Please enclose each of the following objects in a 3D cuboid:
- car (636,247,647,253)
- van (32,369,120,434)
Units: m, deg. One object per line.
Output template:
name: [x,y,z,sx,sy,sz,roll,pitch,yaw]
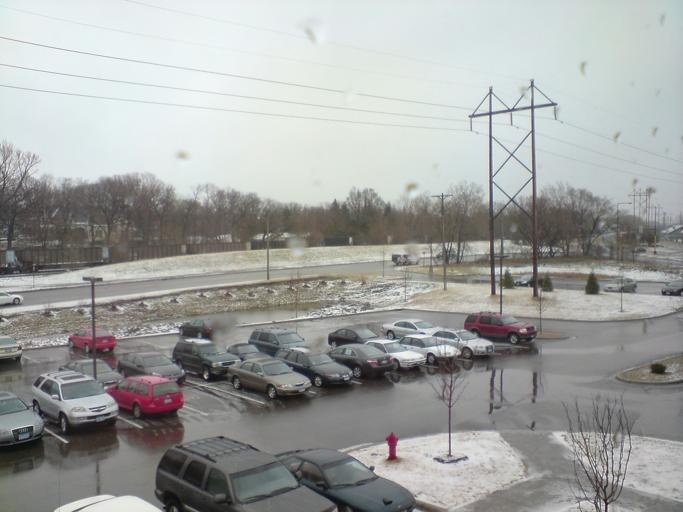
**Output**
car: [58.965,-1.382,126.651,1.600,0.854,1.085,-5,7,1]
van: [-10.951,5.600,25.980,1.815,1.548,3.580,-1,3,-40]
